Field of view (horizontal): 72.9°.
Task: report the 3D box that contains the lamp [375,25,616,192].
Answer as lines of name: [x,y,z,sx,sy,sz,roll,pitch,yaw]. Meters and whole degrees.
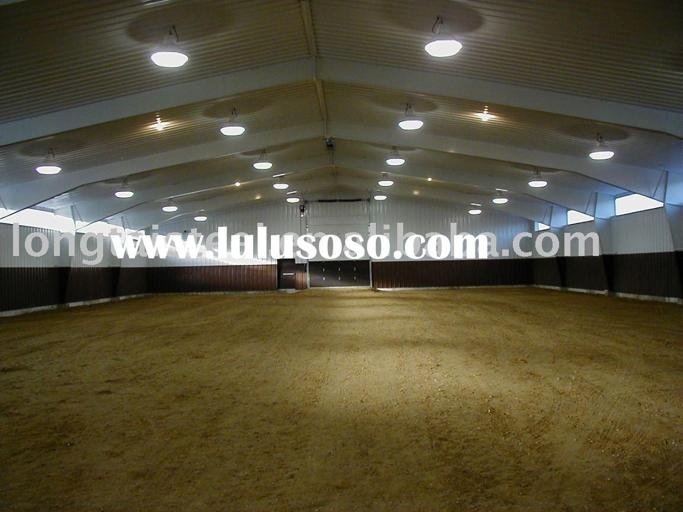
lamp: [4.453,-4.187,13.177,5.260,2.260,1.136,11,-12,-20]
